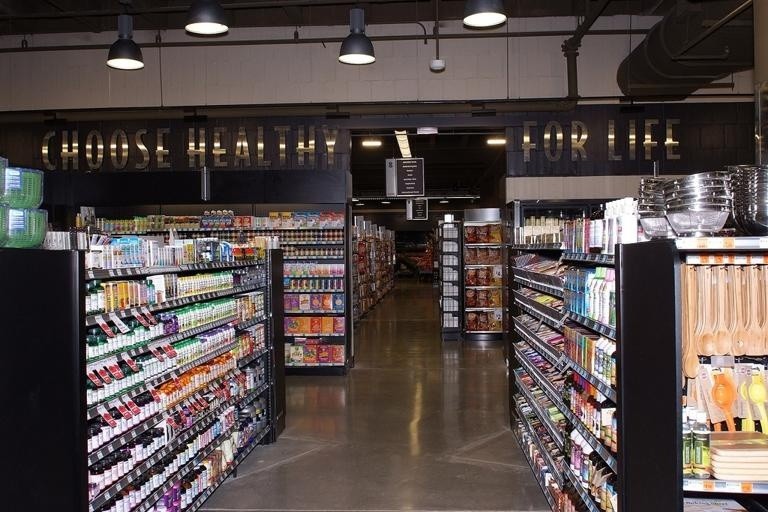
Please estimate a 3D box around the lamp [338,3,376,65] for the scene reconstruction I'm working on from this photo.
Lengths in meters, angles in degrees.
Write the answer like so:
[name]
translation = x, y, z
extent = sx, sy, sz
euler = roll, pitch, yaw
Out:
[lamp]
translation = -0.318, -2.704, 8.331
extent = 0.593, 0.813, 0.613
euler = -1, 9, 1
